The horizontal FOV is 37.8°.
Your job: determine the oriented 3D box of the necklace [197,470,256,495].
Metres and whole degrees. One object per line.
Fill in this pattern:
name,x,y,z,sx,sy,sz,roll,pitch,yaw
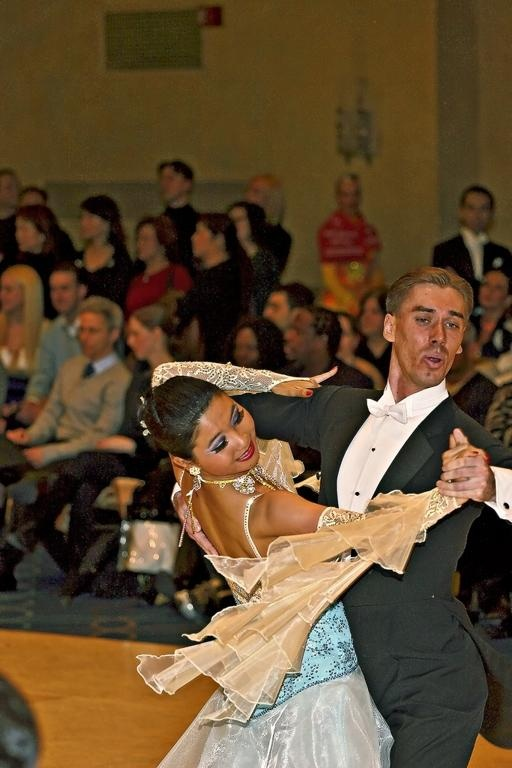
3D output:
necklace,-0.056,0.170,1.278,0.076,0.037,0.012,3,40,9
